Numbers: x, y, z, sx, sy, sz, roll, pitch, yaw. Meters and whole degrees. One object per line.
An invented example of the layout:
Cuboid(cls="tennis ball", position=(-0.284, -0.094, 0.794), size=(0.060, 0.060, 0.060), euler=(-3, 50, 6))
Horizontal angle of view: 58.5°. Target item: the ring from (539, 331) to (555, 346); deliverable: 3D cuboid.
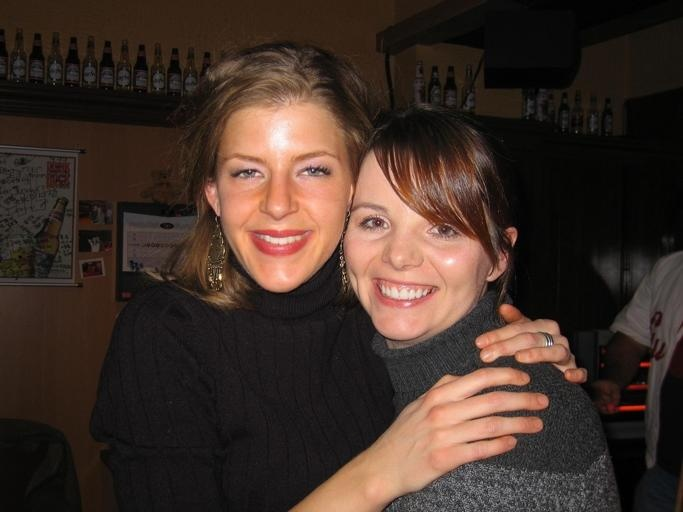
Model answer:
Cuboid(cls="ring", position=(0.646, 0.262, 1.921), size=(0.032, 0.035, 0.039), euler=(-1, -12, -1))

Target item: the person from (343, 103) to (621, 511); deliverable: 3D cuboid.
Cuboid(cls="person", position=(0.402, 0.152, 1.833), size=(0.703, 1.210, 0.499), euler=(-2, 7, -12))
